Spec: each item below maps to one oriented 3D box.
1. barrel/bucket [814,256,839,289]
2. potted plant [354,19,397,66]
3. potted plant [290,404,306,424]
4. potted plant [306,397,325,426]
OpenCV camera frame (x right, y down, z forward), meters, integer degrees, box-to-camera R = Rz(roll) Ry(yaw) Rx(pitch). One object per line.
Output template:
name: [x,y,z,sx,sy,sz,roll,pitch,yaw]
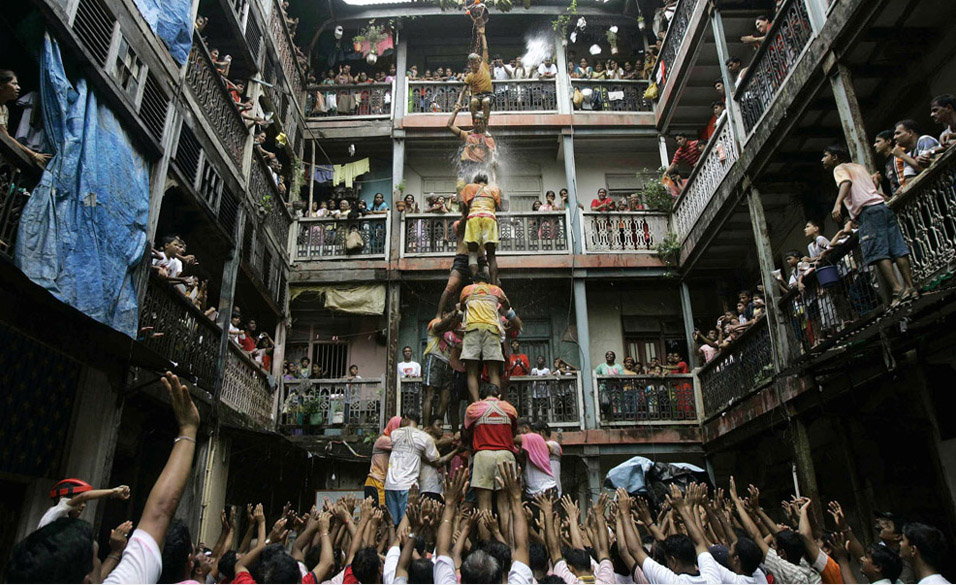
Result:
barrel/bucket: [5.608,-0.340,9.807,0.368,0.488,0.357,8,-39,6]
potted plant: [-3.266,-7.889,19.468,1.354,1.122,1.255,7,-10,-16]
potted plant: [-4.380,2.988,15.054,0.425,0.307,0.424,0,-5,11]
potted plant: [-3.910,2.914,14.799,0.543,0.668,0.522,0,-5,-2]
